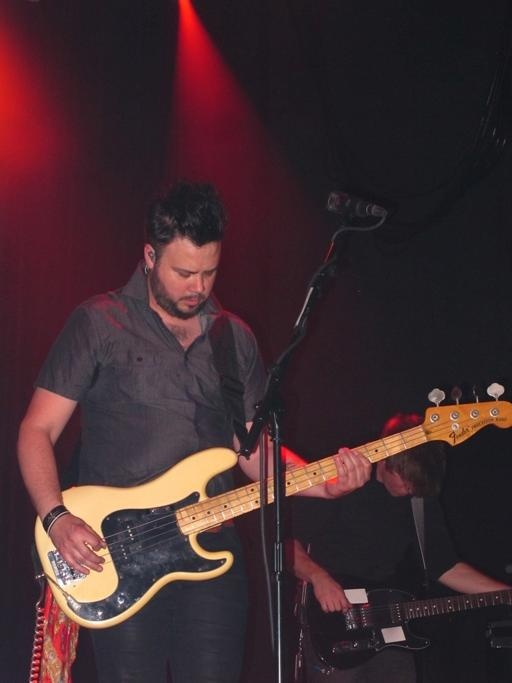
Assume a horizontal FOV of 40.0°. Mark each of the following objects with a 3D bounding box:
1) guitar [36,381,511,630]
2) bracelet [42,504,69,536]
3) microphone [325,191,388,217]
[{"bbox_3d":[0.009,0.569,2.585,1.548,0.840,0.419,-1,36,-24],"label":"guitar"},{"bbox_3d":[-0.687,0.610,2.418,0.079,0.075,0.059,-14,43,-36],"label":"bracelet"},{"bbox_3d":[0.333,-0.434,2.405,0.163,0.068,0.093,19,-5,18],"label":"microphone"}]
